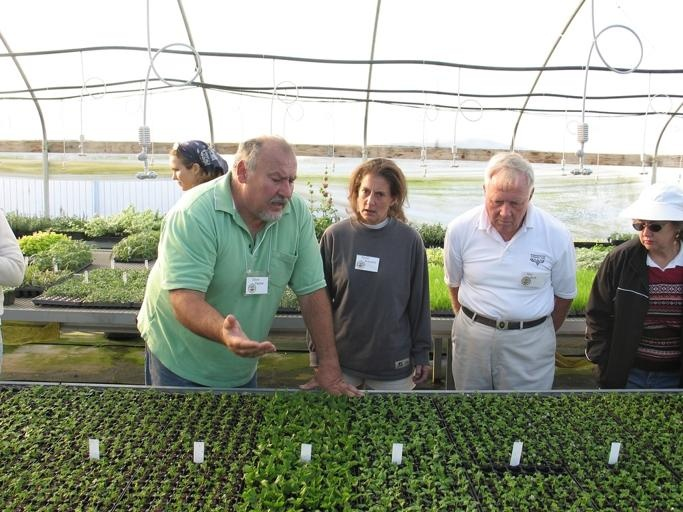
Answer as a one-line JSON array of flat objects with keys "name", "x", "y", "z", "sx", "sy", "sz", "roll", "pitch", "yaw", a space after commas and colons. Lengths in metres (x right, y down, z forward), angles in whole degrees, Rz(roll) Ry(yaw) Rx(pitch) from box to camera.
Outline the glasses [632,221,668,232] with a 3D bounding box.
[{"name": "glasses", "x": 2.346, "y": -0.231, "z": 4.158, "sx": 0.090, "sy": 0.084, "sz": 0.247, "roll": -7, "pitch": 13, "yaw": -28}]

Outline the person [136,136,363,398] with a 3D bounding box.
[{"name": "person", "x": -0.658, "y": 0.135, "z": 3.419, "sx": 1.330, "sy": 1.753, "sz": 0.986, "roll": -4, "pitch": 12, "yaw": -13}]

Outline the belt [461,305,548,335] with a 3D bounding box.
[{"name": "belt", "x": 1.270, "y": 0.495, "z": 4.226, "sx": 0.637, "sy": 0.122, "sz": 0.200, "roll": 2, "pitch": 11, "yaw": 15}]

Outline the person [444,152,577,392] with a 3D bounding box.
[{"name": "person", "x": 1.307, "y": 0.173, "z": 4.175, "sx": 1.018, "sy": 1.929, "sz": 0.639, "roll": 1, "pitch": 12, "yaw": 10}]
